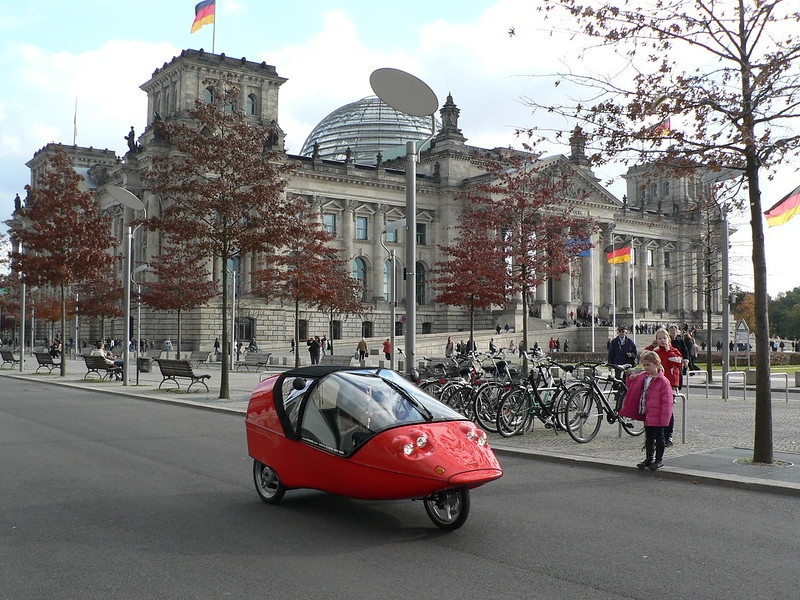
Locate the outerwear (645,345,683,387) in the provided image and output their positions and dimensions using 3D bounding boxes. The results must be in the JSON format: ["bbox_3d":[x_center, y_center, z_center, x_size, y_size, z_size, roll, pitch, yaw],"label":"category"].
[{"bbox_3d":[4.902,1.215,17.245,0.729,0.884,0.632,-9,-17,21],"label":"outerwear"}]

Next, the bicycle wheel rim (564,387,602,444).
[{"bbox_3d":[3.651,2.293,18.553,1.085,1.023,0.216,17,-12,-42],"label":"bicycle wheel rim"}]

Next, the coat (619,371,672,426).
[{"bbox_3d":[4.201,1.624,15.661,0.964,0.887,0.545,7,1,44],"label":"coat"}]

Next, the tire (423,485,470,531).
[{"bbox_3d":[0.611,2.680,12.019,0.169,0.626,0.570,5,-14,-39],"label":"tire"}]

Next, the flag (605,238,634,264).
[{"bbox_3d":[15.257,-3.358,64.254,1.516,1.633,4.111,-1,-5,12],"label":"flag"}]

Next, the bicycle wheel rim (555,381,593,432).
[{"bbox_3d":[3.583,2.228,18.507,0.489,1.197,0.810,-2,-5,23],"label":"bicycle wheel rim"}]

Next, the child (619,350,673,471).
[{"bbox_3d":[4.187,1.855,15.687,0.804,1.957,0.912,-1,-5,13],"label":"child"}]

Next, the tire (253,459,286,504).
[{"bbox_3d":[-1.838,2.579,13.176,0.244,0.662,0.621,9,-2,-41],"label":"tire"}]

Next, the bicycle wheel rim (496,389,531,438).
[{"bbox_3d":[2.336,2.315,19.010,1.031,0.971,0.174,-5,3,-33],"label":"bicycle wheel rim"}]
